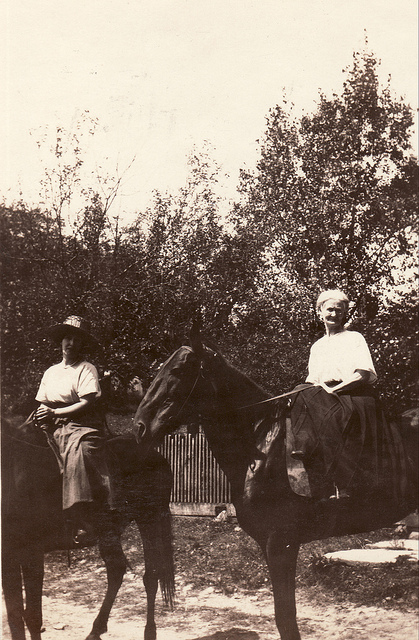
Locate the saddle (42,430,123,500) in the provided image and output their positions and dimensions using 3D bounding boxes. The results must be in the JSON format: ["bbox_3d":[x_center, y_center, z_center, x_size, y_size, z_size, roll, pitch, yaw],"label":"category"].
[{"bbox_3d":[-0.698,0.810,5.296,0.323,0.363,0.325,2,-2,16],"label":"saddle"}]

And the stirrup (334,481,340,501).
[{"bbox_3d":[0.674,0.920,5.098,0.040,0.096,0.024,4,-15,-45],"label":"stirrup"}]

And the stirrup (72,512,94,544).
[{"bbox_3d":[-0.720,1.177,5.403,0.122,0.170,0.043,-5,7,3],"label":"stirrup"}]
